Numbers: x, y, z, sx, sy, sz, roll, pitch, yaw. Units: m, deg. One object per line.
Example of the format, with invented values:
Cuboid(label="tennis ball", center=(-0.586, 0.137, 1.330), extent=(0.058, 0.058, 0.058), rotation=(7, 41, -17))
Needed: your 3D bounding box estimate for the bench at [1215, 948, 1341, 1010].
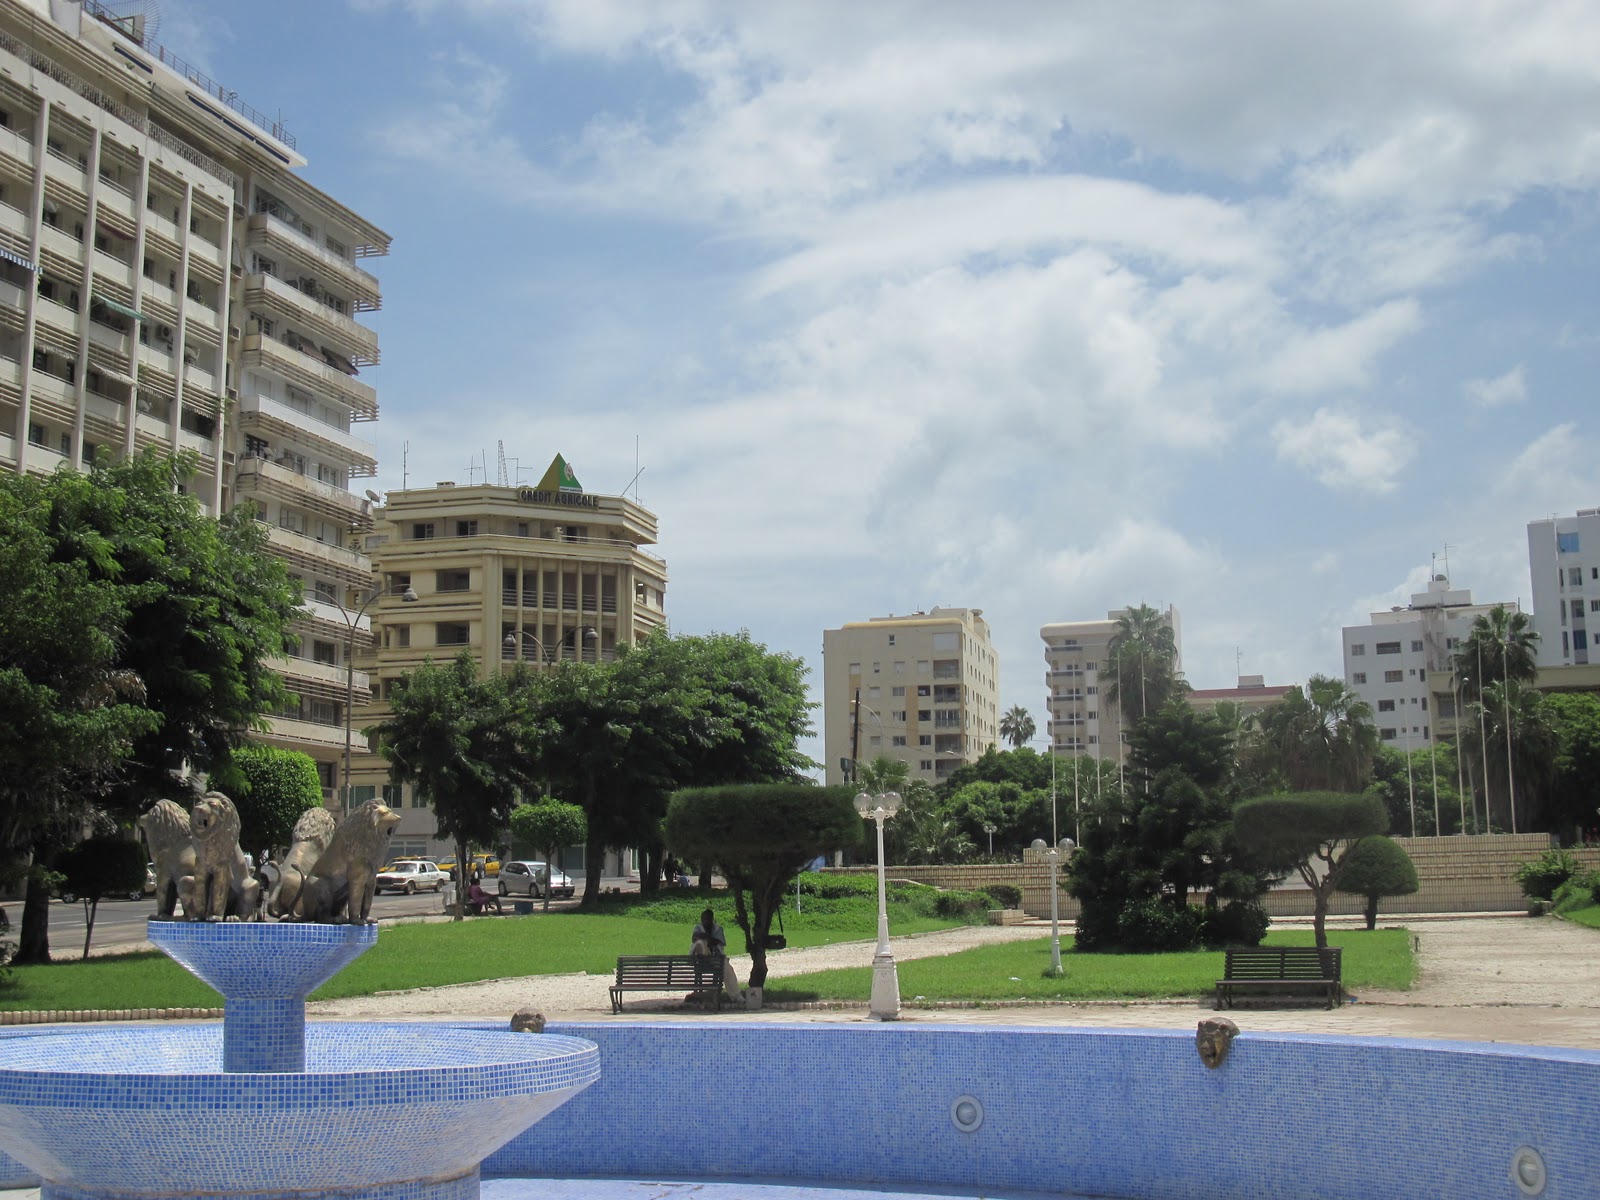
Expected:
Cuboid(label="bench", center=(7.873, 6.264, 30.231), extent=(1.966, 1.126, 0.899), rotation=(-2, -27, 2))

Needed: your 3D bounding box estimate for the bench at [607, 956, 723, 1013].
Cuboid(label="bench", center=(-2.177, 6.383, 30.583), extent=(1.825, 0.827, 1.036), rotation=(0, -11, -3))

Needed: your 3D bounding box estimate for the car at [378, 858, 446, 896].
Cuboid(label="car", center=(-15.055, 10.770, 71.148), extent=(1.430, 1.446, 3.296), rotation=(-8, -13, 35))

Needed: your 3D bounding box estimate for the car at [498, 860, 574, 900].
Cuboid(label="car", center=(-9.894, 10.512, 68.196), extent=(2.381, 1.135, 1.493), rotation=(-5, -8, 25))
